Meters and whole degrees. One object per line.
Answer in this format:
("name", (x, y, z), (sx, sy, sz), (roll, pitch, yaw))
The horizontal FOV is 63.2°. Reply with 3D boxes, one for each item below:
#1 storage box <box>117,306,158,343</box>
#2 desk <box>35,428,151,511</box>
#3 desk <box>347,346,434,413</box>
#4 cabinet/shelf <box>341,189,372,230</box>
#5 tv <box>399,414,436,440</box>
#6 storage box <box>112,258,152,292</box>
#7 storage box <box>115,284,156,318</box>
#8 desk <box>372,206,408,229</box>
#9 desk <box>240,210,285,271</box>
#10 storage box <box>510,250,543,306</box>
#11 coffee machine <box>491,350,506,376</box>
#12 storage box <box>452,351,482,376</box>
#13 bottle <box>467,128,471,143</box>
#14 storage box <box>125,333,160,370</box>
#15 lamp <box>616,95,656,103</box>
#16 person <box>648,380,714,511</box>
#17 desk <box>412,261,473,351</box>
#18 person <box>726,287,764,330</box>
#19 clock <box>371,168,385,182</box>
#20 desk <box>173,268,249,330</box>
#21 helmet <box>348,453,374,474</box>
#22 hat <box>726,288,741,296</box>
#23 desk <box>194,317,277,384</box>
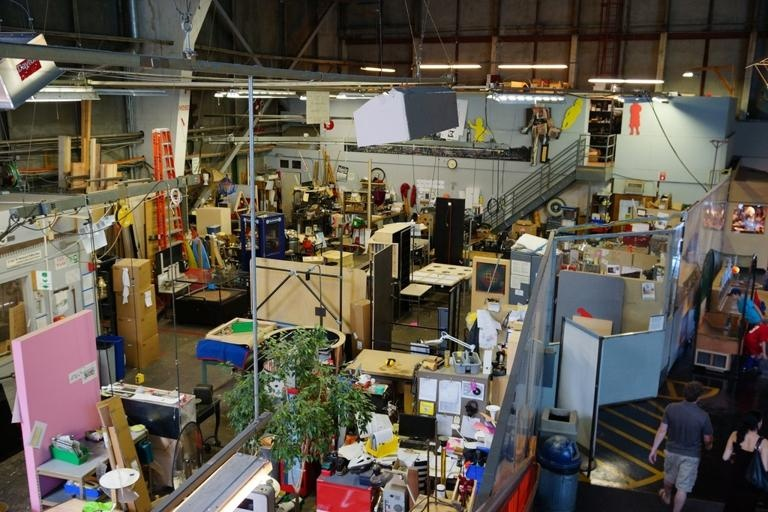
("storage box", (-4.800, 1.310, 12.284), (0.521, 0.733, 1.019), (0, 6, 4))
("desk", (-4.209, 2.623, 8.791), (0.728, 0.889, 1.415), (4, 11, 14))
("desk", (0.049, 2.040, 10.094), (1.053, 0.898, 0.873), (3, 11, 18))
("cabinet/shelf", (-0.849, -1.437, 18.778), (0.875, 0.925, 2.202), (-1, 11, -4))
("tv", (0.457, 2.368, 8.637), (0.359, 0.277, 0.111), (1, 2, 15))
("storage box", (-4.903, 0.340, 12.068), (0.717, 0.526, 0.720), (0, 13, -22))
("storage box", (-4.797, 0.891, 12.141), (0.498, 0.691, 0.963), (1, 5, 6))
("desk", (0.117, -1.207, 19.071), (0.483, 0.531, 1.603), (7, 13, 34))
("desk", (-2.936, -0.355, 14.737), (0.952, 1.333, 1.393), (0, 11, 1))
("storage box", (2.589, 0.428, 11.672), (0.653, 1.057, 0.265), (8, 13, 38))
("coffee machine", (1.731, 1.622, 9.412), (0.210, 0.323, 0.319), (2, 0, -18))
("storage box", (1.202, 1.543, 9.120), (0.432, 0.282, 0.315), (1, 11, 6))
("bottle", (2.500, -3.582, 18.356), (0.164, 0.368, 0.089), (3, 11, 19))
("storage box", (-4.746, 1.802, 12.399), (0.485, 0.681, 0.947), (1, 3, 13))
("lamp", (5.976, -3.731, 14.752), (0.745, 0.190, 0.804), (0, 8, 11))
("person", (4.130, 2.630, 8.700), (0.737, 1.748, 0.555), (-9, 13, -39))
("desk", (1.315, 1.298, 13.707), (1.146, 1.366, 2.070), (7, 14, 21))
("person", (7.112, 1.054, 12.271), (0.312, 0.876, 0.340), (-24, 18, 41))
("clock", (-0.179, -2.586, 19.855), (0.426, 0.460, 0.104), (6, 11, 28))
("desk", (-3.743, 0.933, 13.997), (1.237, 1.003, 1.340), (2, 12, 11))
("helmet", (-0.314, 2.781, 8.355), (0.349, 0.156, 0.201), (-6, 12, -28))
("hat", (7.323, 0.751, 13.065), (0.228, 0.127, 0.163), (13, 17, 38))
("desk", (-2.560, 1.765, 11.392), (1.310, 0.901, 1.358), (5, 15, 10))
